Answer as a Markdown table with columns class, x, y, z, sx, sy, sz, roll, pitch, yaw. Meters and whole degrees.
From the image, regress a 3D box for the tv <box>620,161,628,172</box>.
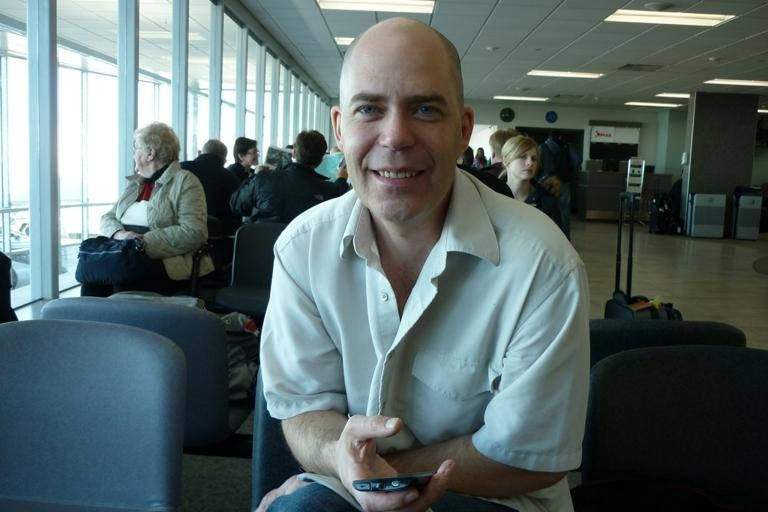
| class | x | y | z | sx | sy | sz | roll | pitch | yaw |
| --- | --- | --- | --- | --- | --- | --- | --- | --- | --- |
| tv | 5.605 | -2.161 | 15.705 | 0.174 | 0.309 | 1.515 | 4 | 7 | 18 |

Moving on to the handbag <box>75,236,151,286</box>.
| class | x | y | z | sx | sy | sz | roll | pitch | yaw |
| --- | --- | --- | --- | --- | --- | --- | --- | --- | --- |
| handbag | -1.811 | 0.042 | 4.399 | 0.447 | 0.332 | 0.213 | 4 | 6 | 21 |

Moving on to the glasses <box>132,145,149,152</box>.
| class | x | y | z | sx | sy | sz | roll | pitch | yaw |
| --- | --- | --- | --- | --- | --- | --- | --- | --- | --- |
| glasses | -1.703 | -0.766 | 4.613 | 0.150 | 0.056 | 0.041 | 7 | 8 | 37 |

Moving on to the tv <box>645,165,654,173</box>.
| class | x | y | z | sx | sy | sz | roll | pitch | yaw |
| --- | --- | --- | --- | --- | --- | --- | --- | --- | --- |
| tv | 7.064 | -2.398 | 17.748 | 0.207 | 0.210 | 0.959 | 4 | 7 | 22 |
